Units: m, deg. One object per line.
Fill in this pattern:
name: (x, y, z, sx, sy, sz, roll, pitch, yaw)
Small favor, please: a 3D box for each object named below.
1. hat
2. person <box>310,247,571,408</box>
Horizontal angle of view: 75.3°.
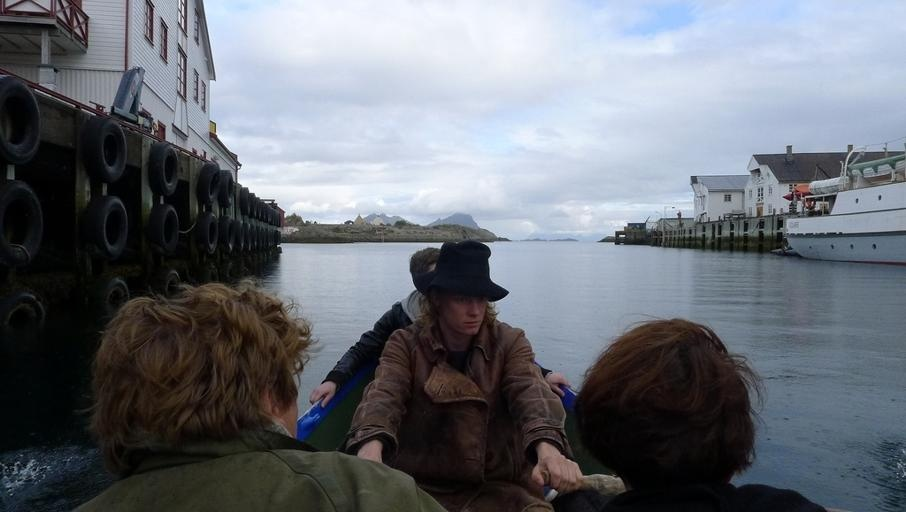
hat: (0.095, 0.188, 6.076, 0.740, 0.378, 0.715, 5, -6, -2)
person: (-0.299, 1.177, 10.756, 3.594, 0.878, 1.075, -16, -33, 10)
